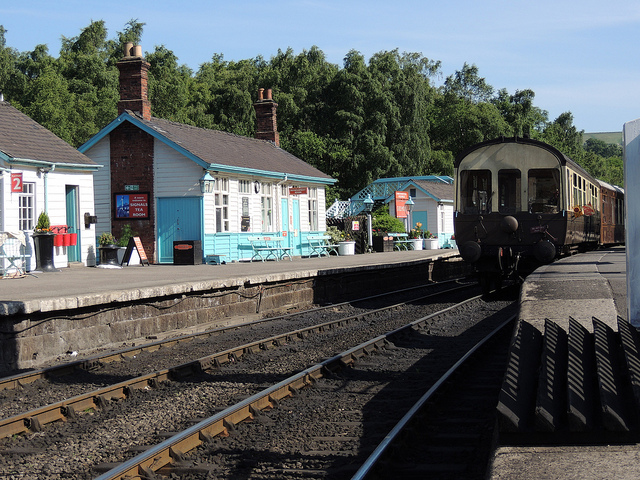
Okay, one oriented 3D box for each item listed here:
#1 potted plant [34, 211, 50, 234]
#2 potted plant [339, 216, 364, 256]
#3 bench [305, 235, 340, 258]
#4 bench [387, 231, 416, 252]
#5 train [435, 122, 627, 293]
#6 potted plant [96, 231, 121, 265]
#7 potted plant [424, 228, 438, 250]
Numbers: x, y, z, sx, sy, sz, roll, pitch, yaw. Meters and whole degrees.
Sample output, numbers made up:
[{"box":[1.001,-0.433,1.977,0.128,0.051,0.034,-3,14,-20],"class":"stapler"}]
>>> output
[{"box":[-7.843,-0.517,18.735,0.405,0.611,0.989,-3,2,-23],"class":"potted plant"},{"box":[1.680,-0.177,33.160,1.124,1.993,0.506,1,3,-44],"class":"potted plant"},{"box":[0.134,0.265,29.770,1.029,0.984,3.040,-1,2,15],"class":"bench"},{"box":[4.294,0.056,35.110,1.122,0.950,3.059,-1,3,28],"class":"bench"},{"box":[7.458,-0.831,22.630,3.250,4.979,14.720,0,0,19],"class":"train"},{"box":[-6.750,0.287,21.154,0.495,1.009,0.881,-2,2,-21],"class":"potted plant"},{"box":[6.178,-0.019,36.898,0.936,1.070,0.990,0,-3,-6],"class":"potted plant"}]
